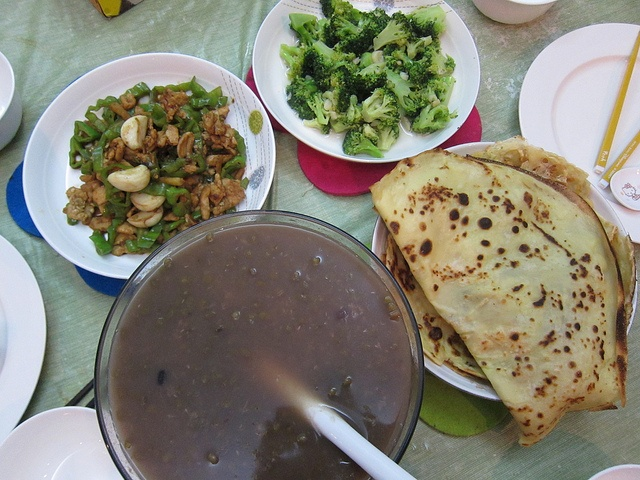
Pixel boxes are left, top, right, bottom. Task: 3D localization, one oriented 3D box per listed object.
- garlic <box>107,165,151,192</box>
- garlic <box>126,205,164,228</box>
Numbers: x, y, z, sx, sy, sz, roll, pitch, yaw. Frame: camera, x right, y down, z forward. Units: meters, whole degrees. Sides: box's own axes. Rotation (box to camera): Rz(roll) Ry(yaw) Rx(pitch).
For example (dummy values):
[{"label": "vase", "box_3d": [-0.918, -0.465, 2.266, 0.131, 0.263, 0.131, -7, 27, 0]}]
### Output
[{"label": "garlic", "box_3d": [-0.611, -0.199, 1.935, 0.104, 0.072, 0.077, -14, 46, -24]}, {"label": "garlic", "box_3d": [-0.568, -0.071, 1.996, 0.112, 0.049, 0.064, -24, 53, -10]}]
